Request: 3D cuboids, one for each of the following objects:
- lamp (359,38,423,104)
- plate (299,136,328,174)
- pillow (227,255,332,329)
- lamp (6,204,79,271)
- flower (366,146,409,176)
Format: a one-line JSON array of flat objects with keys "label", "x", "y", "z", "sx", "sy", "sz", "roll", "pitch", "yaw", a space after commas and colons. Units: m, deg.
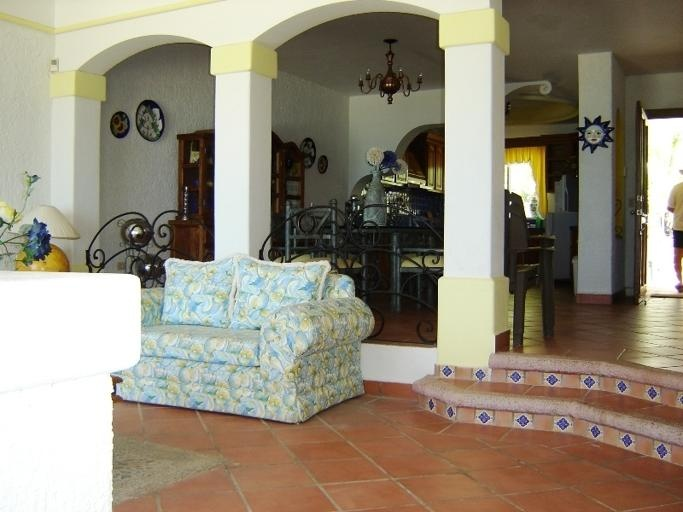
[{"label": "lamp", "x": 0.629, "y": -2.374, "z": 6.968, "sx": 0.732, "sy": 0.797, "sz": 0.734, "roll": 0, "pitch": 4, "yaw": -26}, {"label": "plate", "x": -0.475, "y": -1.610, "z": 8.550, "sx": 0.084, "sy": 0.663, "sz": 0.622, "roll": 9, "pitch": -2, "yaw": 23}, {"label": "pillow", "x": -0.462, "y": 0.419, "z": 3.893, "sx": 0.701, "sy": 0.184, "sz": 0.668, "roll": 10, "pitch": -33, "yaw": -24}, {"label": "lamp", "x": -2.644, "y": -0.097, "z": 4.786, "sx": 0.463, "sy": 0.680, "sz": 0.497, "roll": 1, "pitch": -11, "yaw": -13}, {"label": "flower", "x": 0.415, "y": -0.943, "z": 5.317, "sx": 0.291, "sy": 0.263, "sz": 0.458, "roll": -1, "pitch": 6, "yaw": -4}]
